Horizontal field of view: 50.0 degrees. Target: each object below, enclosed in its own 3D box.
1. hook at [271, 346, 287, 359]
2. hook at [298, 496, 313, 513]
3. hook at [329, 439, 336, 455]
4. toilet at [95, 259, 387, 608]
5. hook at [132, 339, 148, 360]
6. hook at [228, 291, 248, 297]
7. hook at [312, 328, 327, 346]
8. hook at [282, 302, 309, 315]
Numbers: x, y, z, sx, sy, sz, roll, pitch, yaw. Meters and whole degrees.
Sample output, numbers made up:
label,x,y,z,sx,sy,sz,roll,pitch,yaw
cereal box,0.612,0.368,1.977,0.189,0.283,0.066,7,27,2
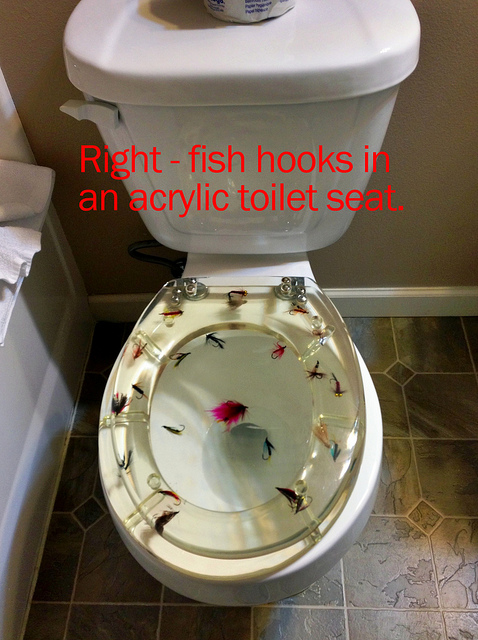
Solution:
label,x,y,z,sx,sy,sz,roll,pitch,yaw
hook,0.058,0.045,0.733,0.022,0.004,0.012,-37,61,12
hook,0.078,0.214,0.594,0.009,0.004,0.022,29,64,14
hook,0.114,0.155,0.622,0.009,0.004,0.014,-3,54,19
toilet,-0.005,0.175,0.783,0.359,0.318,0.440,3,61,2
hook,-0.140,0.044,0.721,0.011,0.010,0.018,30,59,8
hook,0.000,-0.040,0.784,0.026,0.005,0.010,0,55,5
hook,0.115,0.028,0.726,0.014,0.023,0.023,5,93,23
hook,0.084,-0.017,0.759,0.030,0.009,0.028,18,90,12
